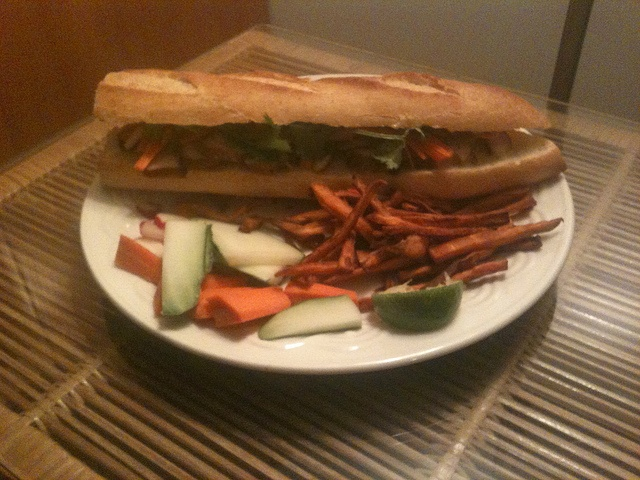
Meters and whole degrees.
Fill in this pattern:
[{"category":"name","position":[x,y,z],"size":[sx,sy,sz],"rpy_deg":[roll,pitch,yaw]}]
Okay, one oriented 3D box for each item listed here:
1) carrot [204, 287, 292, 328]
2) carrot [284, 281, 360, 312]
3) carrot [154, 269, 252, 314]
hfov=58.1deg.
[{"category":"carrot","position":[-0.115,0.104,0.897],"size":[0.122,0.024,0.059],"rpy_deg":[-8,38,-31]},{"category":"carrot","position":[0.003,0.084,0.941],"size":[0.110,0.017,0.040],"rpy_deg":[-1,30,5]},{"category":"carrot","position":[-0.173,0.083,0.937],"size":[0.096,0.020,0.100],"rpy_deg":[31,38,30]}]
